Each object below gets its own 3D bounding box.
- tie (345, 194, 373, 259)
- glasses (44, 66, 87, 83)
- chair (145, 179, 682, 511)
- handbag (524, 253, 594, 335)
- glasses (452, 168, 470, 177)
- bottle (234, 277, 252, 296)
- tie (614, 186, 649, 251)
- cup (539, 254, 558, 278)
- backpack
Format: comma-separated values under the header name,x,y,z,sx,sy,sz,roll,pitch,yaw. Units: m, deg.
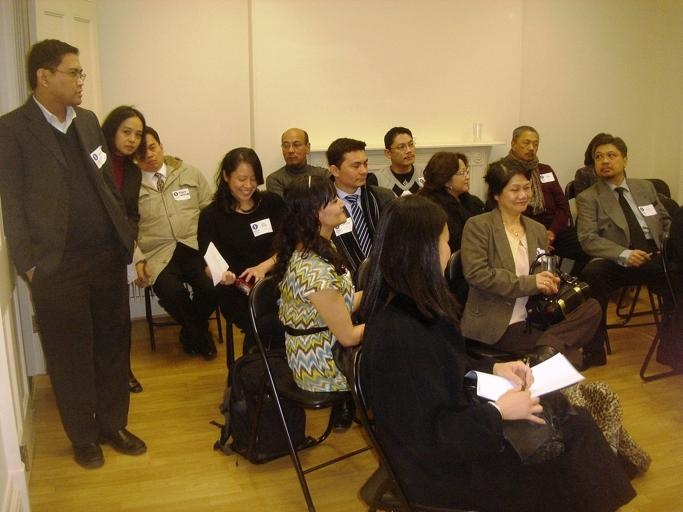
name,x,y,z,sx,sy,sz,roll,pitch,yaw
tie,0.138,-0.238,3.641,0.147,0.496,0.069,-11,-10,-16
glasses,-1.366,-0.924,2.577,0.118,0.057,0.232,1,13,6
chair,0.319,0.478,2.700,1.971,1.467,0.697,-2,-12,21
handbag,1.307,0.264,3.122,0.474,0.183,0.351,-40,23,-4
glasses,0.915,-0.644,3.866,0.133,0.043,0.138,5,9,42
bottle,-0.621,0.186,3.220,0.041,0.048,0.176,29,1,-21
tie,2.434,-0.307,4.333,0.143,0.757,0.088,-3,-17,-18
cup,1.327,0.064,3.242,0.115,0.150,0.122,-3,9,0
backpack,-0.380,0.779,2.656,0.593,0.684,0.295,12,18,43
